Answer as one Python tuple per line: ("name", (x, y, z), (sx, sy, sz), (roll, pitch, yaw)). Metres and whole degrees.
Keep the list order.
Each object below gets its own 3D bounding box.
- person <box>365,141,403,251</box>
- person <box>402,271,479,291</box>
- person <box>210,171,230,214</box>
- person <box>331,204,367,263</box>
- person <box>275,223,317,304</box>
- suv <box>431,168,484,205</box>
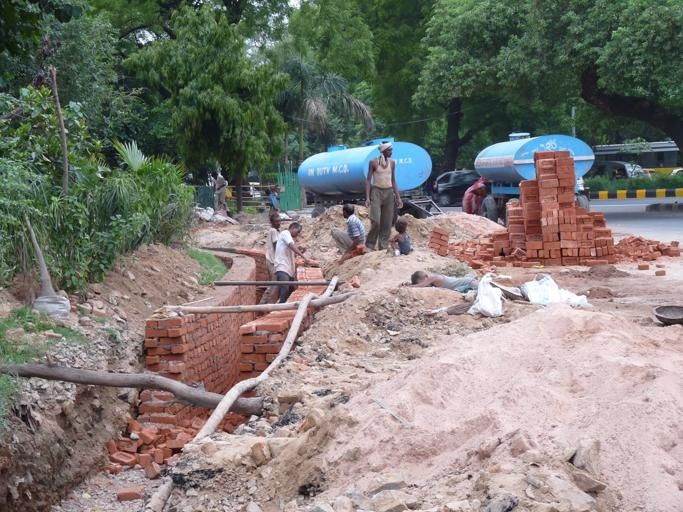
("person", (0.749, -1.053, 12.865), (0.680, 1.948, 0.564), (-4, 14, -13))
("person", (1.512, 0.389, 10.673), (0.719, 0.258, 0.504), (-4, -5, 5))
("person", (-4.050, -2.066, 23.587), (0.421, 1.181, 1.589), (-3, 14, -10))
("person", (0.153, -0.452, 13.294), (0.546, 1.087, 0.564), (8, 16, 26))
("person", (-0.851, 0.131, 11.699), (0.517, 1.186, 1.231), (-2, 14, -5))
("suv", (4.757, -2.817, 29.448), (1.855, 1.044, 1.097), (-8, 10, -3))
